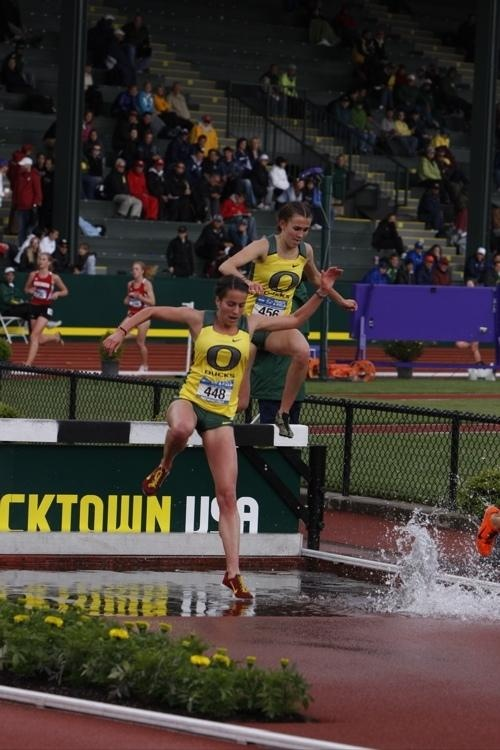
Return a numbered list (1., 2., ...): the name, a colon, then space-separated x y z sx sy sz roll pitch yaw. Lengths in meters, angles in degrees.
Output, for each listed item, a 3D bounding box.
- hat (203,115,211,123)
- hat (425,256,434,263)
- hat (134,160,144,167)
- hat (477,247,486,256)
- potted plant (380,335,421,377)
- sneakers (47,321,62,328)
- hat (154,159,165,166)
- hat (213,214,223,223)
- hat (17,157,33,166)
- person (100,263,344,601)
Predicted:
1. hat: -1.383 -8.045 27.680 0.191 0.278 0.586 3 6 -4
2. hat: 5.287 -3.478 26.621 0.158 0.256 0.459 7 7 30
3. hat: -3.099 -5.966 24.835 0.269 0.278 0.459 3 6 -8
4. hat: 6.760 -3.676 26.260 0.261 0.157 0.375 25 6 -3
5. potted plant: 4.021 -0.455 23.077 1.090 1.094 0.937 0 -2 -9
6. sneakers: -4.682 -1.223 21.371 0.299 0.100 0.202 -10 -15 -5
7. hat: -2.519 -6.014 24.766 0.196 0.252 0.232 -2 18 -12
8. hat: -0.900 -4.326 24.409 0.265 0.192 0.395 11 -4 3
9. hat: -5.854 -5.616 23.254 0.339 0.163 0.217 7 26 -26
10. person: -0.313 0.409 5.575 0.909 2.056 0.588 5 7 14
